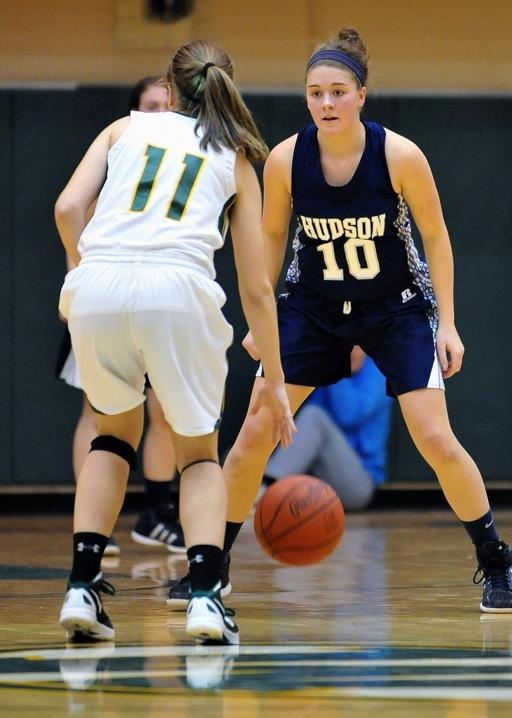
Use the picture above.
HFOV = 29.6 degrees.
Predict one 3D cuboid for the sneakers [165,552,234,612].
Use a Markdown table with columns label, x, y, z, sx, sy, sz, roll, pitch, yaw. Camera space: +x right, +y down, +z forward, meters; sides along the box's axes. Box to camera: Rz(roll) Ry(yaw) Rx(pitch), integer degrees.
| label | x | y | z | sx | sy | sz | roll | pitch | yaw |
| --- | --- | --- | --- | --- | --- | --- | --- | --- | --- |
| sneakers | -0.142 | 0.556 | 2.395 | 0.099 | 0.265 | 0.165 | -4 | 70 | 13 |

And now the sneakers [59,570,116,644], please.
| label | x | y | z | sx | sy | sz | roll | pitch | yaw |
| --- | --- | --- | --- | --- | --- | --- | --- | --- | --- |
| sneakers | -0.337 | 0.497 | 1.956 | 0.107 | 0.212 | 0.144 | -1 | 61 | 4 |

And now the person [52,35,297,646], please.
| label | x | y | z | sx | sy | sz | roll | pitch | yaw |
| --- | --- | --- | --- | --- | --- | --- | --- | --- | --- |
| person | -0.165 | -0.052 | 2.048 | 0.620 | 0.419 | 1.224 | 3 | 86 | 7 |
